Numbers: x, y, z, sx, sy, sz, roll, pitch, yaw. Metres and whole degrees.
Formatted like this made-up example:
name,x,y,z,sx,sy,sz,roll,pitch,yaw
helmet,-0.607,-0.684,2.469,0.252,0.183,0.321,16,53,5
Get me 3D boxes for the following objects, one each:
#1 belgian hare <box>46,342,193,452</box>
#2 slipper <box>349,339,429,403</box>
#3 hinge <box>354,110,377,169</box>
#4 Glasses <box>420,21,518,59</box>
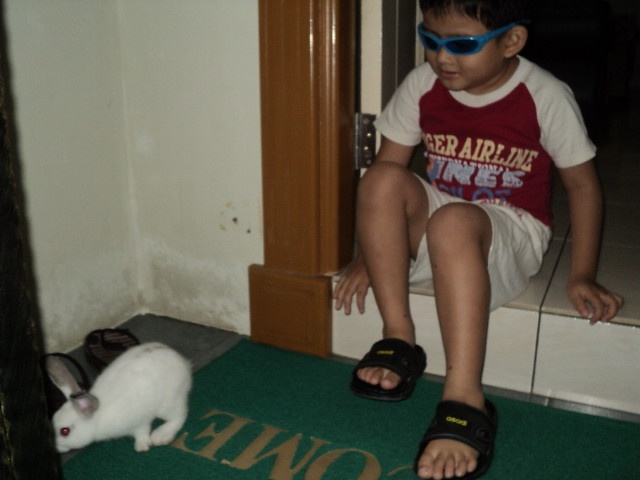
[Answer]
name,x,y,z,sx,sy,sz,roll,pitch,yaw
belgian hare,-0.481,0.397,1.460,0.317,0.236,0.200,-27,41,-30
slipper,0.176,0.300,1.453,0.110,0.082,0.198,5,10,27
hinge,0.135,-0.312,1.752,0.032,0.144,0.104,3,12,41
Glasses,0.364,-0.490,1.416,0.248,0.066,0.088,2,28,3
